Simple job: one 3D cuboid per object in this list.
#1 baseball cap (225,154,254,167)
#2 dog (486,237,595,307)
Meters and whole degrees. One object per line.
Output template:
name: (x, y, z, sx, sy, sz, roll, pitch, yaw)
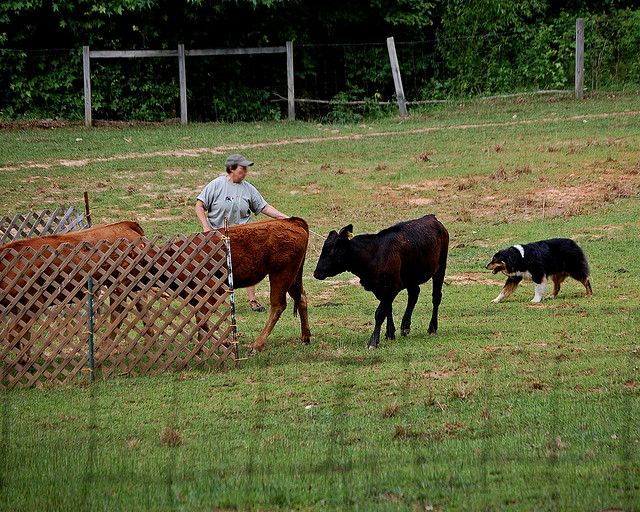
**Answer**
baseball cap: (-1.456, -1.732, 19.094, 0.425, 0.186, 0.302, 0, 4, 0)
dog: (4.581, 0.301, 21.451, 1.999, 1.358, 0.781, -5, 3, -3)
